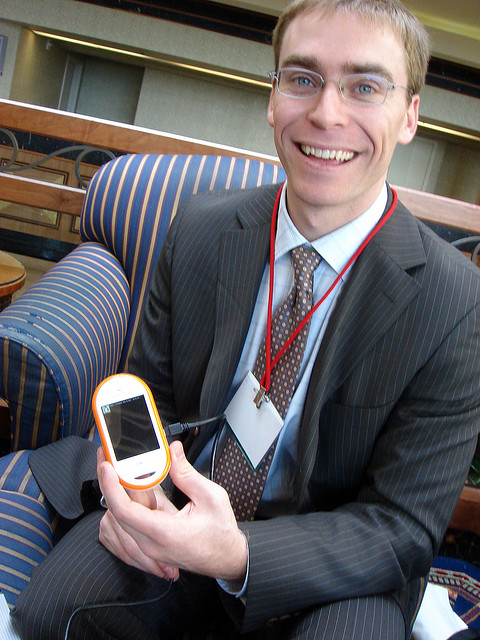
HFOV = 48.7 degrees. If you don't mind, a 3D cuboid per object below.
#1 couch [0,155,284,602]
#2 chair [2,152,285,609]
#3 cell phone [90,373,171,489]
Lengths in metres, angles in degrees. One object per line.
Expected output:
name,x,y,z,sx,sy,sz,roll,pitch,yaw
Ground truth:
couch,-0.159,0.099,0.948,0.402,0.618,0.464,20,18,-1
chair,-0.158,0.103,0.946,0.393,0.609,0.483,22,20,-3
cell phone,-0.144,0.153,0.703,0.085,0.030,0.189,-7,41,-28
